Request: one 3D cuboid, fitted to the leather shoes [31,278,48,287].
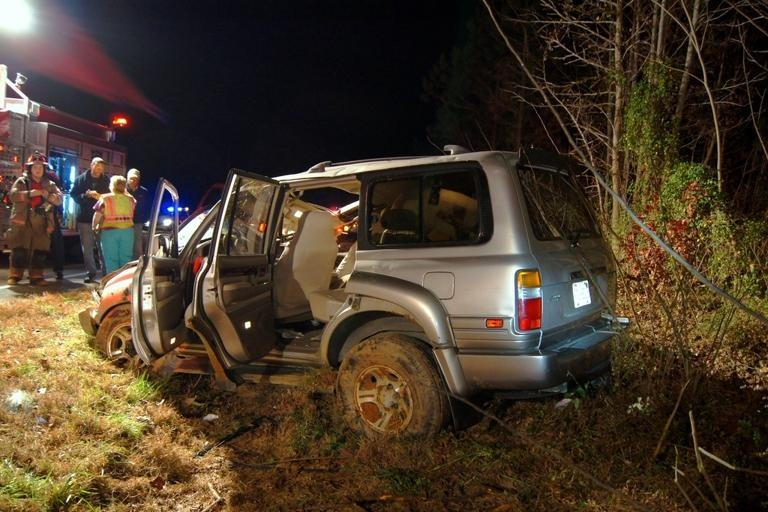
[{"bbox_3d":[-6.793,0.500,10.022,0.390,0.183,0.153,-2,5,17],"label":"leather shoes"}]

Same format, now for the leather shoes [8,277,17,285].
[{"bbox_3d":[-7.072,0.458,9.672,0.151,0.144,0.176,6,11,-23],"label":"leather shoes"}]

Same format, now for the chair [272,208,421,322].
[{"bbox_3d":[-0.522,0.143,6.602,1.212,1.858,1.358,4,-4,-25],"label":"chair"}]

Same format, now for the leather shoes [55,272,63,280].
[{"bbox_3d":[-6.863,0.399,10.740,0.140,0.144,0.079,1,17,-11],"label":"leather shoes"}]
